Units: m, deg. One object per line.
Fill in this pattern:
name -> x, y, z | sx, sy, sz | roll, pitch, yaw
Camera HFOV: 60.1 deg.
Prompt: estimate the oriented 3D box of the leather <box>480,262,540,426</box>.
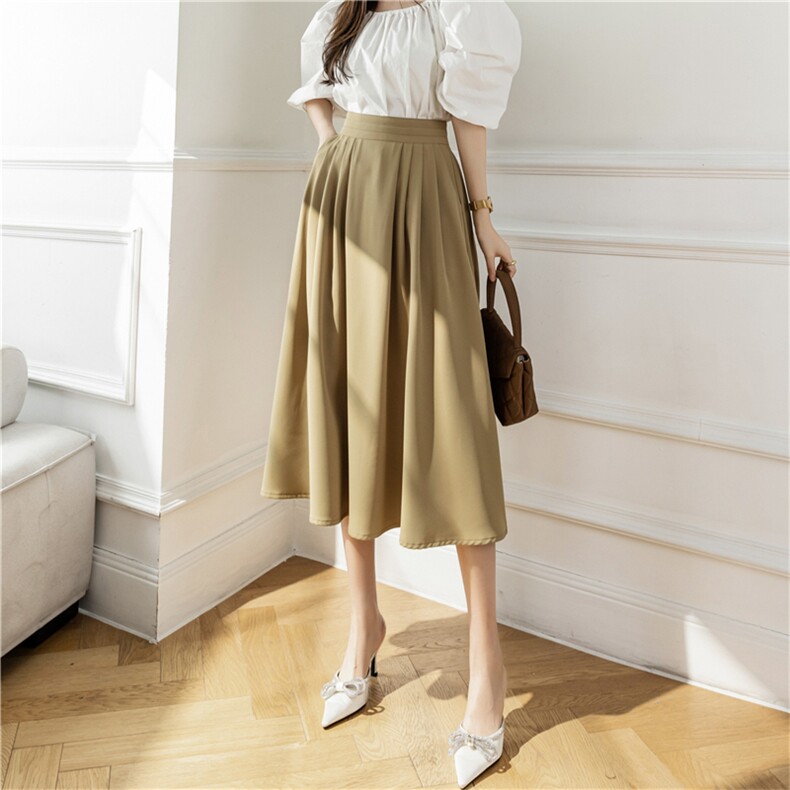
leather -> 0.244, -0.106, 1.436 | 0.078, 0.310, 0.242 | -12, 28, 1
